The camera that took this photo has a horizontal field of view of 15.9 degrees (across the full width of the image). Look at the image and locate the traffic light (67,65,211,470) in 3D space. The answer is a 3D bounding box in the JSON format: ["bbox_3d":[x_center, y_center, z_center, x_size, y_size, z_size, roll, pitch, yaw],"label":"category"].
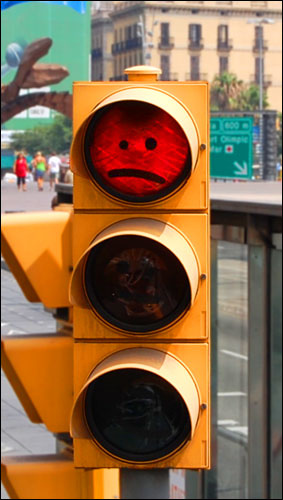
[{"bbox_3d":[-0.005,0.075,2.576,0.377,1.011,0.250,-2,10,4],"label":"traffic light"}]

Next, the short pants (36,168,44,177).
[{"bbox_3d":[-3.427,-2.672,34.229,0.261,0.384,0.901,-4,13,-6],"label":"short pants"}]
